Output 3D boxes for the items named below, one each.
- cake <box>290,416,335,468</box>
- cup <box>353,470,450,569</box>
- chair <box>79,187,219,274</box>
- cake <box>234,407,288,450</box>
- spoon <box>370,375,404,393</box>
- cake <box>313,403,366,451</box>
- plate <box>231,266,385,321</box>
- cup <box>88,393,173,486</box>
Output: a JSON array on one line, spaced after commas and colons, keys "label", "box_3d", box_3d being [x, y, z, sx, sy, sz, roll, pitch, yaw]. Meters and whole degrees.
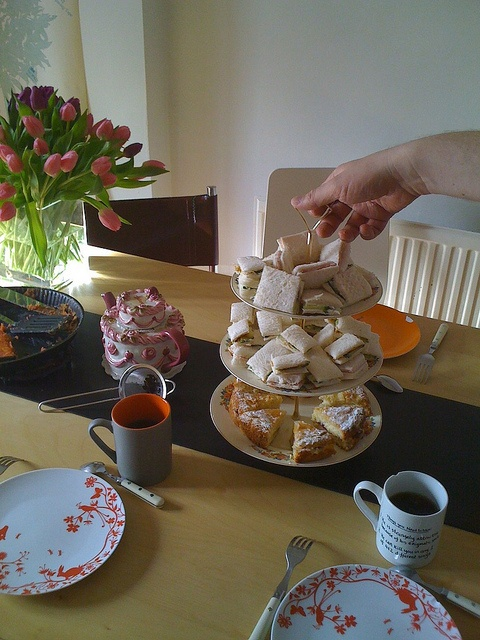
[{"label": "cake", "box_3d": [0.118, 0.206, 0.878, 0.068, 0.029, 0.105, -9, 13, -12]}, {"label": "cup", "box_3d": [0.212, 0.273, 0.690, 0.117, 0.094, 0.073, 9, 24, 32]}, {"label": "chair", "box_3d": [-0.280, -0.327, 2.050, 0.420, 0.371, 0.680, -1, -3, -6]}, {"label": "cake", "box_3d": [0.038, 0.188, 0.893, 0.063, 0.025, 0.086, 24, 34, 9]}, {"label": "spoon", "box_3d": [0.316, 0.136, 1.078, 0.025, 0.011, 0.082, -32, 35, -20]}, {"label": "cake", "box_3d": [0.178, 0.191, 0.900, 0.075, 0.026, 0.075, 8, 34, 21]}, {"label": "plate", "box_3d": [0.148, -0.052, 0.867, 0.280, 0.029, 0.272, 1, 16, 21]}, {"label": "cup", "box_3d": [-0.185, 0.196, 0.807, 0.139, 0.110, 0.081, -1, 26, -6]}]
